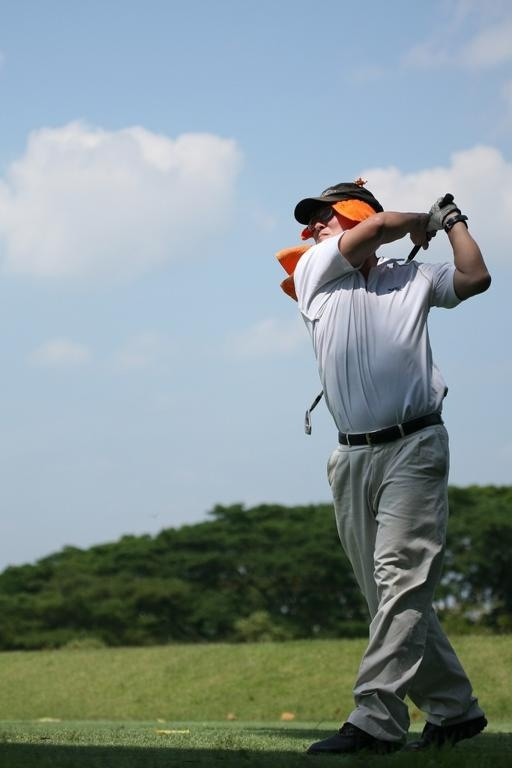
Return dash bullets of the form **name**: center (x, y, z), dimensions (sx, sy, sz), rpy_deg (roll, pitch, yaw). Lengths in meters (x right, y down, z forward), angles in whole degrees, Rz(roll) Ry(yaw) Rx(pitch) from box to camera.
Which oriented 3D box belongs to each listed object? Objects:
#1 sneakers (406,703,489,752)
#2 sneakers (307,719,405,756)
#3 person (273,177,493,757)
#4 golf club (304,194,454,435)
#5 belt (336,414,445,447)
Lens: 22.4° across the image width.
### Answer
- **sneakers**: center (0.626, 1.127, 4.235), dimensions (0.313, 0.125, 0.090), rpy_deg (-5, -23, -18)
- **sneakers**: center (0.287, 1.099, 4.013), dimensions (0.341, 0.111, 0.103), rpy_deg (4, -19, -1)
- **person**: center (0.450, 0.227, 4.240), dimensions (0.728, 1.959, 0.592), rpy_deg (-7, -6, 7)
- **golf club**: center (0.393, -0.196, 4.183), dimensions (0.111, 1.005, 0.145), rpy_deg (42, -9, 2)
- **belt**: center (0.430, 0.153, 4.237), dimensions (0.347, 0.095, 0.148), rpy_deg (-5, -6, 5)
